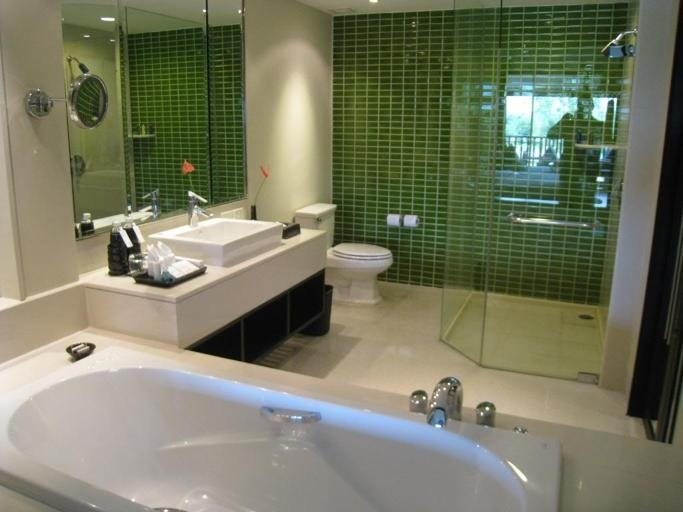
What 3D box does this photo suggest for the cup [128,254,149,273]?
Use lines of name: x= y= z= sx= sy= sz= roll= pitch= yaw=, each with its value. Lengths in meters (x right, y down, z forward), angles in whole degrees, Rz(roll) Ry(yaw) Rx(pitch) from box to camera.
cup: x=-1.107 y=0.043 z=2.927 sx=0.090 sy=0.106 sz=0.095 roll=2 pitch=5 yaw=0

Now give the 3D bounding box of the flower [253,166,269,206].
flower: x=-0.650 y=-0.585 z=4.442 sx=0.104 sy=0.299 sz=0.300 roll=2 pitch=16 yaw=8

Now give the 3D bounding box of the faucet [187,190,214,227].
faucet: x=-0.930 y=-0.286 z=3.535 sx=0.222 sy=0.243 sz=0.068 roll=22 pitch=25 yaw=34

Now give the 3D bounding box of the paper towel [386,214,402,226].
paper towel: x=0.521 y=-0.350 z=5.381 sx=0.140 sy=0.132 sz=0.109 roll=1 pitch=6 yaw=28

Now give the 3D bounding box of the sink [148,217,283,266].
sink: x=-0.773 y=-0.105 z=3.478 sx=0.576 sy=0.166 sz=0.705 roll=6 pitch=17 yaw=17

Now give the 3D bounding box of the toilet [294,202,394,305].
toilet: x=0.042 y=0.000 z=5.120 sx=0.862 sy=0.877 sz=0.582 roll=9 pitch=18 yaw=29

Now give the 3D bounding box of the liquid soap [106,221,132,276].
liquid soap: x=-1.243 y=-0.035 z=3.014 sx=0.144 sy=0.283 sz=0.136 roll=-5 pitch=16 yaw=-17

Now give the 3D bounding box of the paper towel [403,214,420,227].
paper towel: x=0.685 y=-0.331 z=5.355 sx=0.152 sy=0.149 sz=0.160 roll=4 pitch=16 yaw=12

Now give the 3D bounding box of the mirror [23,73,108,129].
mirror: x=-1.486 y=-0.813 z=2.851 sx=0.435 sy=0.268 sz=0.247 roll=0 pitch=17 yaw=5

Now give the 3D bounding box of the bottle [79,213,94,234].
bottle: x=-1.410 y=-0.179 z=2.972 sx=0.070 sy=0.135 sz=0.080 roll=12 pitch=16 yaw=20

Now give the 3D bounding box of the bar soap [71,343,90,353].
bar soap: x=-1.257 y=0.446 z=2.592 sx=0.040 sy=0.015 sz=0.040 roll=9 pitch=18 yaw=22
